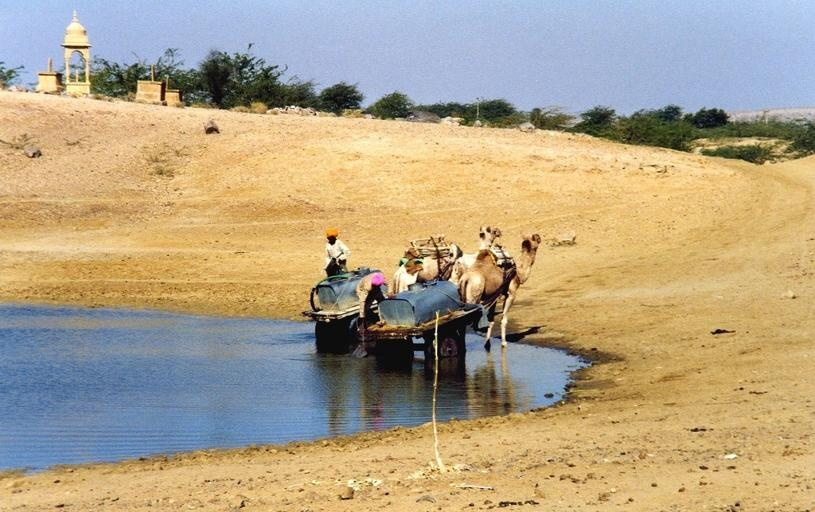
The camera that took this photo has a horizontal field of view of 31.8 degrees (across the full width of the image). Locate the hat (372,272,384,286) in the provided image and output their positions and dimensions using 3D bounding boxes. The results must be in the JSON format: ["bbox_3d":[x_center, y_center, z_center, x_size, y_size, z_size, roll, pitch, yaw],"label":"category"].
[{"bbox_3d":[-0.995,0.759,47.227,0.354,0.441,0.445,3,6,4],"label":"hat"}]

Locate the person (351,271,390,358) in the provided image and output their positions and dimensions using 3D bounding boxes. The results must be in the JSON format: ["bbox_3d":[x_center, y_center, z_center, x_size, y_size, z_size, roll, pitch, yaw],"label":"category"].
[{"bbox_3d":[-1.316,1.586,47.736,1.171,2.263,1.049,10,29,15],"label":"person"}]
